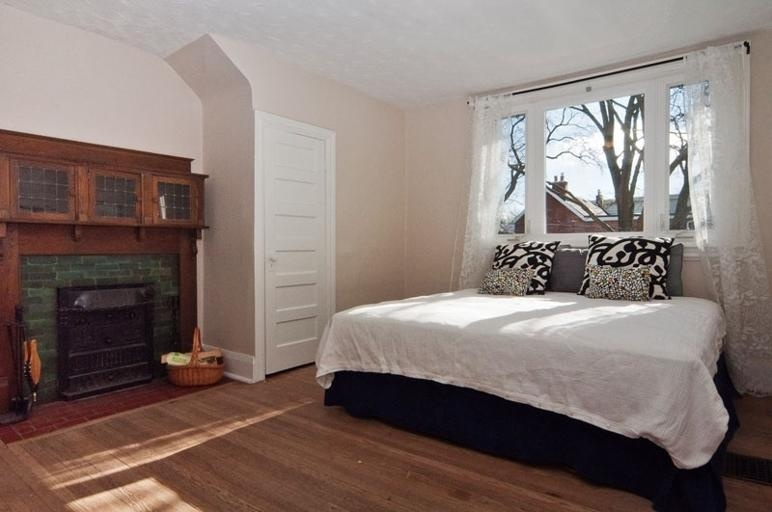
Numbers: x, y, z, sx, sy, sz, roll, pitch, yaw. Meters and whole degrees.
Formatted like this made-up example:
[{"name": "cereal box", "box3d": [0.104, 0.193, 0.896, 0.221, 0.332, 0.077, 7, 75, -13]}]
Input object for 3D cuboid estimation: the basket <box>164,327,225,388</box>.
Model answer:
[{"name": "basket", "box3d": [-1.945, 1.033, 4.920, 0.479, 0.537, 0.637, 1, -7, -16]}]
